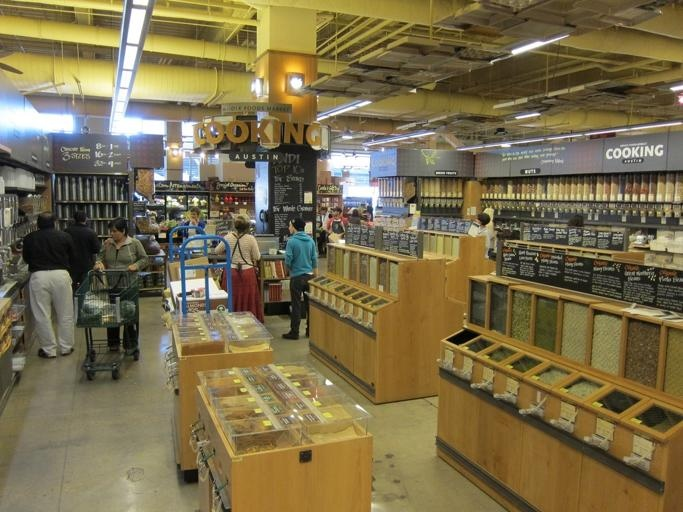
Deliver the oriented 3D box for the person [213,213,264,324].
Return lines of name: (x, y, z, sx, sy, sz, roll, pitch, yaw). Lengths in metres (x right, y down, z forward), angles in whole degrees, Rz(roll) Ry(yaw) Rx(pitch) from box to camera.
person: (-1.513, 0.122, 7.736, 0.725, 1.626, 0.666, 1, 22, -9)

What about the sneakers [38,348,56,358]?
sneakers: (-4.114, 1.342, 7.409, 0.286, 0.126, 0.107, 0, 0, 34)

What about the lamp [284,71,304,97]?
lamp: (-0.890, -3.743, 10.256, 0.366, 0.452, 0.143, -1, 11, -6)

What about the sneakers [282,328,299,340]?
sneakers: (-0.824, 1.195, 8.398, 0.110, 0.227, 0.313, -2, 8, -33)

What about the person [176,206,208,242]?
person: (-3.451, -0.832, 12.063, 0.380, 0.892, 0.447, 21, 3, 18)
